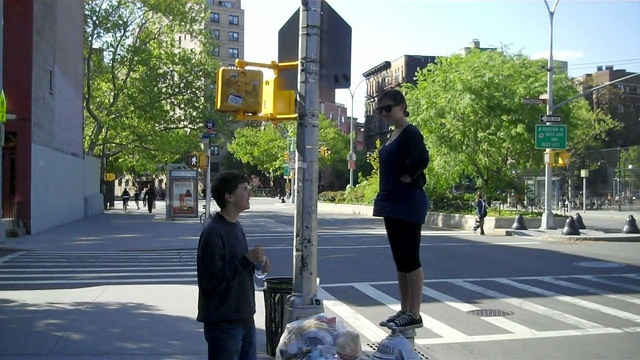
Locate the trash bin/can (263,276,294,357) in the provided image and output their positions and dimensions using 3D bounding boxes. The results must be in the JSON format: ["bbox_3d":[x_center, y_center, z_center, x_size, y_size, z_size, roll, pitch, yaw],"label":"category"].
[{"bbox_3d":[-1.048,3.312,14.434,0.793,1.779,0.483,1,0,23],"label":"trash bin/can"}]

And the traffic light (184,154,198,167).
[{"bbox_3d":[-7.593,-1.160,35.192,1.004,0.931,0.496,1,2,-27],"label":"traffic light"}]

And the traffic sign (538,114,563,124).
[{"bbox_3d":[12.327,-3.262,31.639,0.938,0.365,1.374,0,-1,32],"label":"traffic sign"}]
